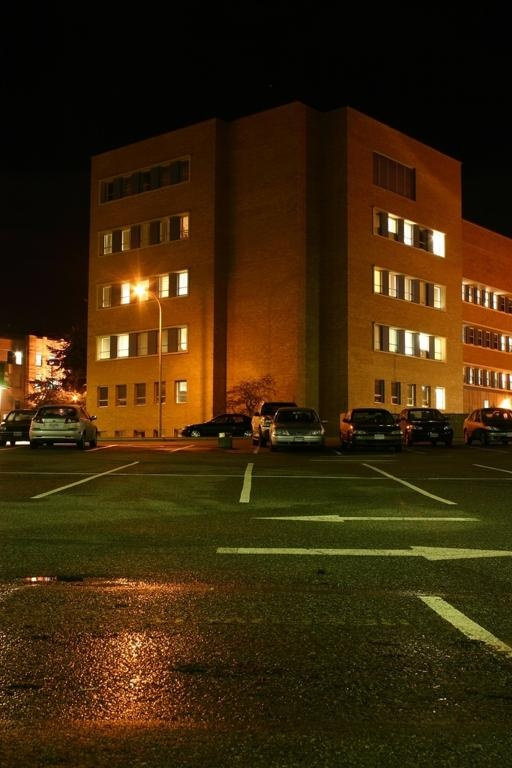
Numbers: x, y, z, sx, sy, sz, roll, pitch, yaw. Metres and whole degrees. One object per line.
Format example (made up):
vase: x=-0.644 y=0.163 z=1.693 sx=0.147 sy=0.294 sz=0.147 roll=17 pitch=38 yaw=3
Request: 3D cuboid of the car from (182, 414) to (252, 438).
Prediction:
car: x=-2.184 y=2.500 z=45.904 sx=3.621 sy=1.156 sz=1.486 roll=2 pitch=-7 yaw=-1

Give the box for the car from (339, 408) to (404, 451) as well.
car: x=4.427 y=1.743 z=30.706 sx=1.870 sy=1.625 sz=2.992 roll=3 pitch=-5 yaw=-3

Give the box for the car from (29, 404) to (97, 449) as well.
car: x=-7.085 y=1.584 z=29.332 sx=1.882 sy=1.549 sz=1.950 roll=2 pitch=-5 yaw=7

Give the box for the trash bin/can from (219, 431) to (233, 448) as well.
trash bin/can: x=-1.262 y=2.334 z=32.465 sx=0.589 sy=0.595 sz=0.568 roll=0 pitch=-7 yaw=-2

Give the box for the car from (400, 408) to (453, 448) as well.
car: x=7.499 y=1.925 z=35.592 sx=1.959 sy=1.735 sz=2.133 roll=2 pitch=-5 yaw=-2
